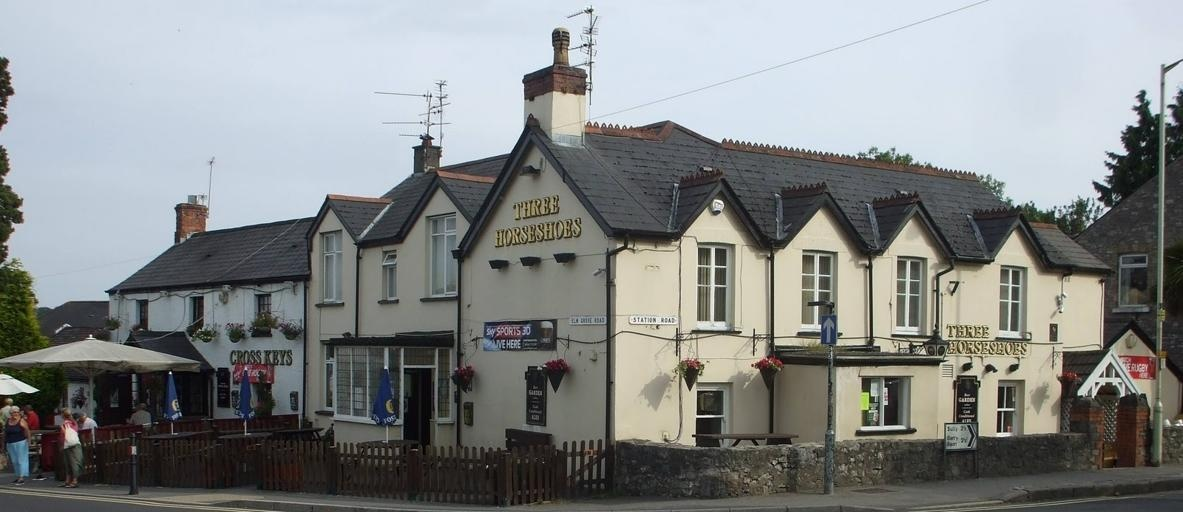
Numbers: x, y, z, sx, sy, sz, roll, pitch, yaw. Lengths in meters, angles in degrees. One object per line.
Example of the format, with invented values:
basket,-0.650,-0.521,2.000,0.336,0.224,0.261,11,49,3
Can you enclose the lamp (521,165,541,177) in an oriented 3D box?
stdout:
lamp,-3.301,-4.710,86.303,0.797,0.406,0.750,5,-8,-31

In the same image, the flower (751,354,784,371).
flower,9.834,5.920,85.134,1.061,0.580,1.027,3,-6,-41
